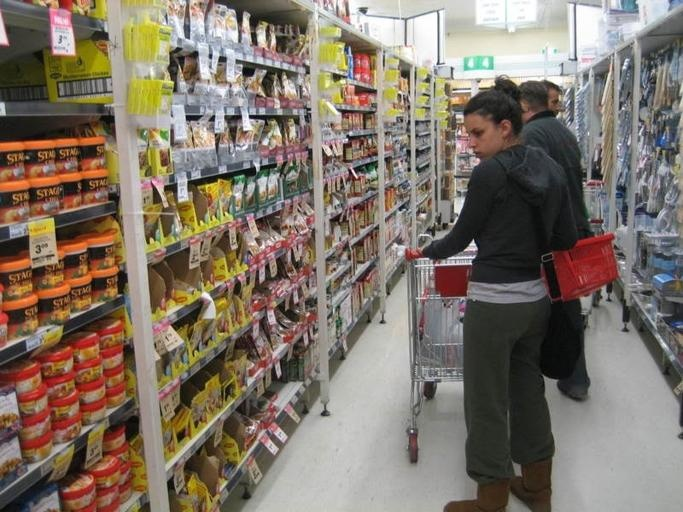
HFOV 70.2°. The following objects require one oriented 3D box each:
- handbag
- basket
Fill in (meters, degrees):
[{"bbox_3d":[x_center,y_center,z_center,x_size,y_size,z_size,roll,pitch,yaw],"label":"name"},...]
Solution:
[{"bbox_3d":[1.186,0.429,2.643,0.180,0.426,0.417,-1,7,22],"label":"handbag"},{"bbox_3d":[1.267,0.062,2.614,0.357,0.260,0.297,-16,-7,5],"label":"basket"}]
